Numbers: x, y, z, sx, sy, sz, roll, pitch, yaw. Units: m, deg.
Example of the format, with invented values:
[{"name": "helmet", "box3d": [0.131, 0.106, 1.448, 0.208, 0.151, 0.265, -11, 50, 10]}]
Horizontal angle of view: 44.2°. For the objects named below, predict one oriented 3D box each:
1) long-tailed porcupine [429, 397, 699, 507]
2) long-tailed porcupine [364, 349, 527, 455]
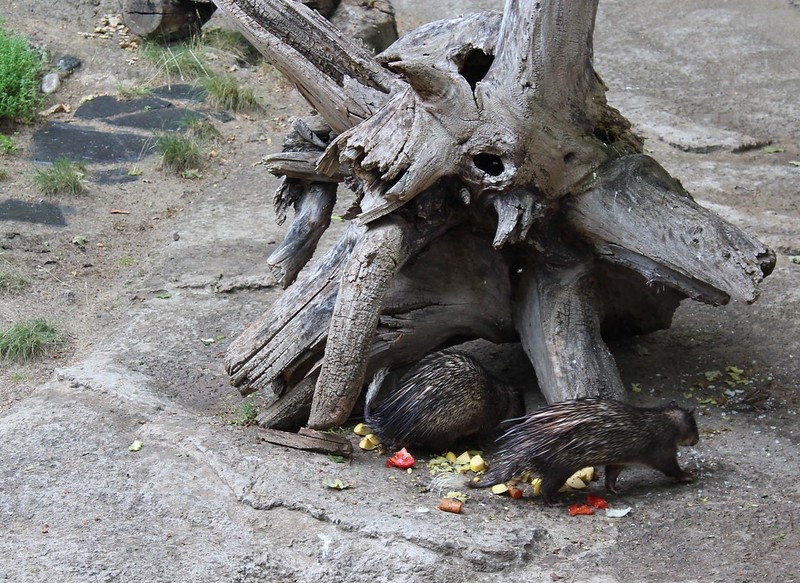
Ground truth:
[{"name": "long-tailed porcupine", "box3d": [1.559, 1.306, 8.138, 2.159, 0.679, 0.436, 0, 5, -18]}, {"name": "long-tailed porcupine", "box3d": [0.490, 1.102, 9.335, 2.214, 0.928, 0.716, 3, 14, -43]}]
